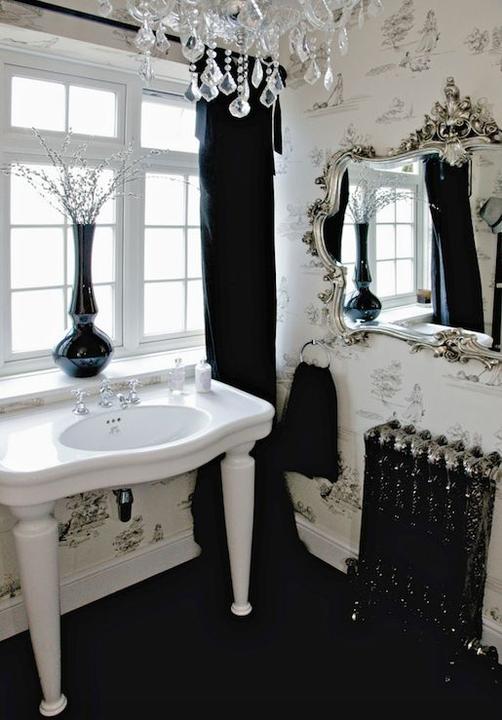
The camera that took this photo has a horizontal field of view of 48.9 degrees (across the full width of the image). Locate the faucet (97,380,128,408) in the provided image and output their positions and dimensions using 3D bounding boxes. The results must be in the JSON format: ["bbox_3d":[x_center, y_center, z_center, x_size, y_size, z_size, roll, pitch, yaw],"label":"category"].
[{"bbox_3d":[-0.521,0.121,2.073,0.169,0.111,0.067,14,16,43],"label":"faucet"}]

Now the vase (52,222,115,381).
[{"bbox_3d":[-0.655,-0.218,2.135,0.222,0.605,0.100,-4,12,-24],"label":"vase"}]

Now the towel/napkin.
[{"bbox_3d":[0.248,0.260,2.340,0.291,0.491,0.119,2,-2,26],"label":"towel/napkin"}]

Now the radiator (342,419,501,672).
[{"bbox_3d":[0.601,0.643,1.960,0.216,0.751,0.497,-10,15,-43],"label":"radiator"}]

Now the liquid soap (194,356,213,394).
[{"bbox_3d":[-0.188,0.065,2.245,0.075,0.132,0.063,-4,12,-23],"label":"liquid soap"}]

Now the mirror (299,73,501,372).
[{"bbox_3d":[0.539,-0.493,1.925,0.059,0.907,1.063,-8,15,-34],"label":"mirror"}]

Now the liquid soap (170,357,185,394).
[{"bbox_3d":[-0.297,0.065,2.212,0.050,0.132,0.055,-1,11,-9],"label":"liquid soap"}]
